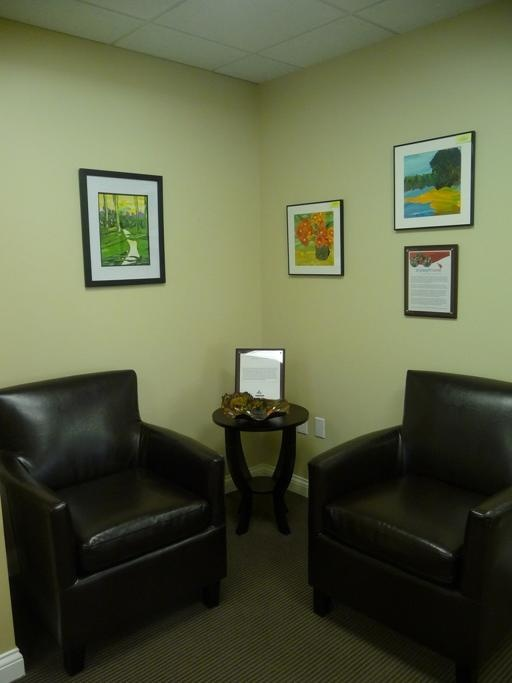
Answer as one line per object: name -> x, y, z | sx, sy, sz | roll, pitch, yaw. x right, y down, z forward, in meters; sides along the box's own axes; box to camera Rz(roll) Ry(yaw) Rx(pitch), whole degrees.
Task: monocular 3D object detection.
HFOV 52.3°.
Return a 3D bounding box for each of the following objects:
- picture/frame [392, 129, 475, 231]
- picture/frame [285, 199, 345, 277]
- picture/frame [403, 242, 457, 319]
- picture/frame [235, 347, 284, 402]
picture/frame -> 0.822, -0.748, 2.374 | 0.034, 0.489, 0.461 | -6, 9, -39
picture/frame -> 0.350, -0.605, 2.977 | 0.040, 0.461, 0.419 | -7, 10, -40
picture/frame -> 0.831, -0.297, 2.457 | 0.041, 0.456, 0.321 | -6, 8, -41
picture/frame -> 0.027, 0.184, 2.837 | 0.234, 0.310, 0.034 | 2, -2, 4
